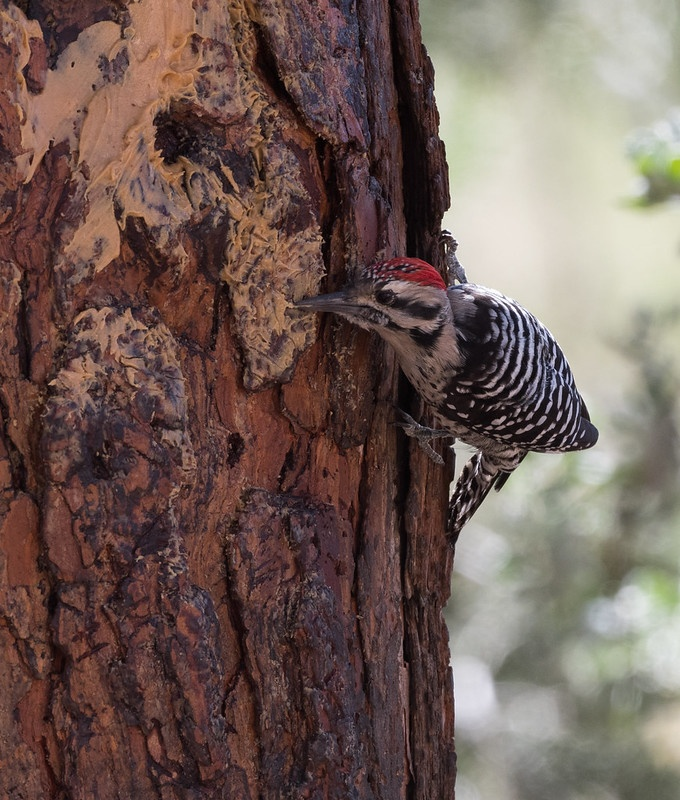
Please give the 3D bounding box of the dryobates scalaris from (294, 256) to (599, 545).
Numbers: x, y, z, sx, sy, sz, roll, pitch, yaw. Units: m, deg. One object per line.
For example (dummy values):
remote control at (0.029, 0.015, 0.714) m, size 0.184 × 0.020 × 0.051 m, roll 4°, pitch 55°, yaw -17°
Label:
dryobates scalaris at (0.184, 0.032, 2.907) m, size 0.681 × 0.207 × 0.421 m, roll 20°, pitch -75°, yaw -43°
